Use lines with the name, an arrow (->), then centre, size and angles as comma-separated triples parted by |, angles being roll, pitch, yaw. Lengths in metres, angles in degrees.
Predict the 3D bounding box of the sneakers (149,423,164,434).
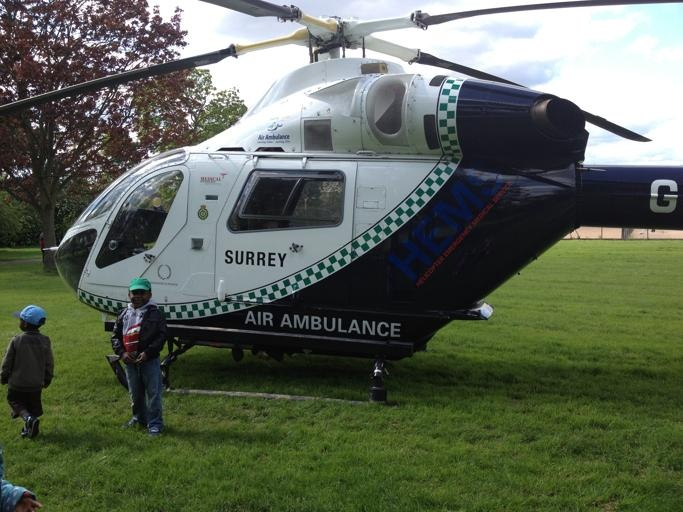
sneakers -> -2.261, 2.153, 8.110 | 0.078, 0.087, 0.207 | 2, -16, 1

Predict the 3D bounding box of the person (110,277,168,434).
person -> -2.413, 1.200, 8.183 | 0.548, 1.923, 0.792 | -14, 20, -41

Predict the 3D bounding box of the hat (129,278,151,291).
hat -> -2.472, 0.289, 8.166 | 0.201, 0.149, 0.196 | -2, 15, -3

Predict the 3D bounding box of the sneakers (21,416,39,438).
sneakers -> -3.721, 2.094, 7.979 | 0.162, 0.351, 0.134 | 39, 40, 26
